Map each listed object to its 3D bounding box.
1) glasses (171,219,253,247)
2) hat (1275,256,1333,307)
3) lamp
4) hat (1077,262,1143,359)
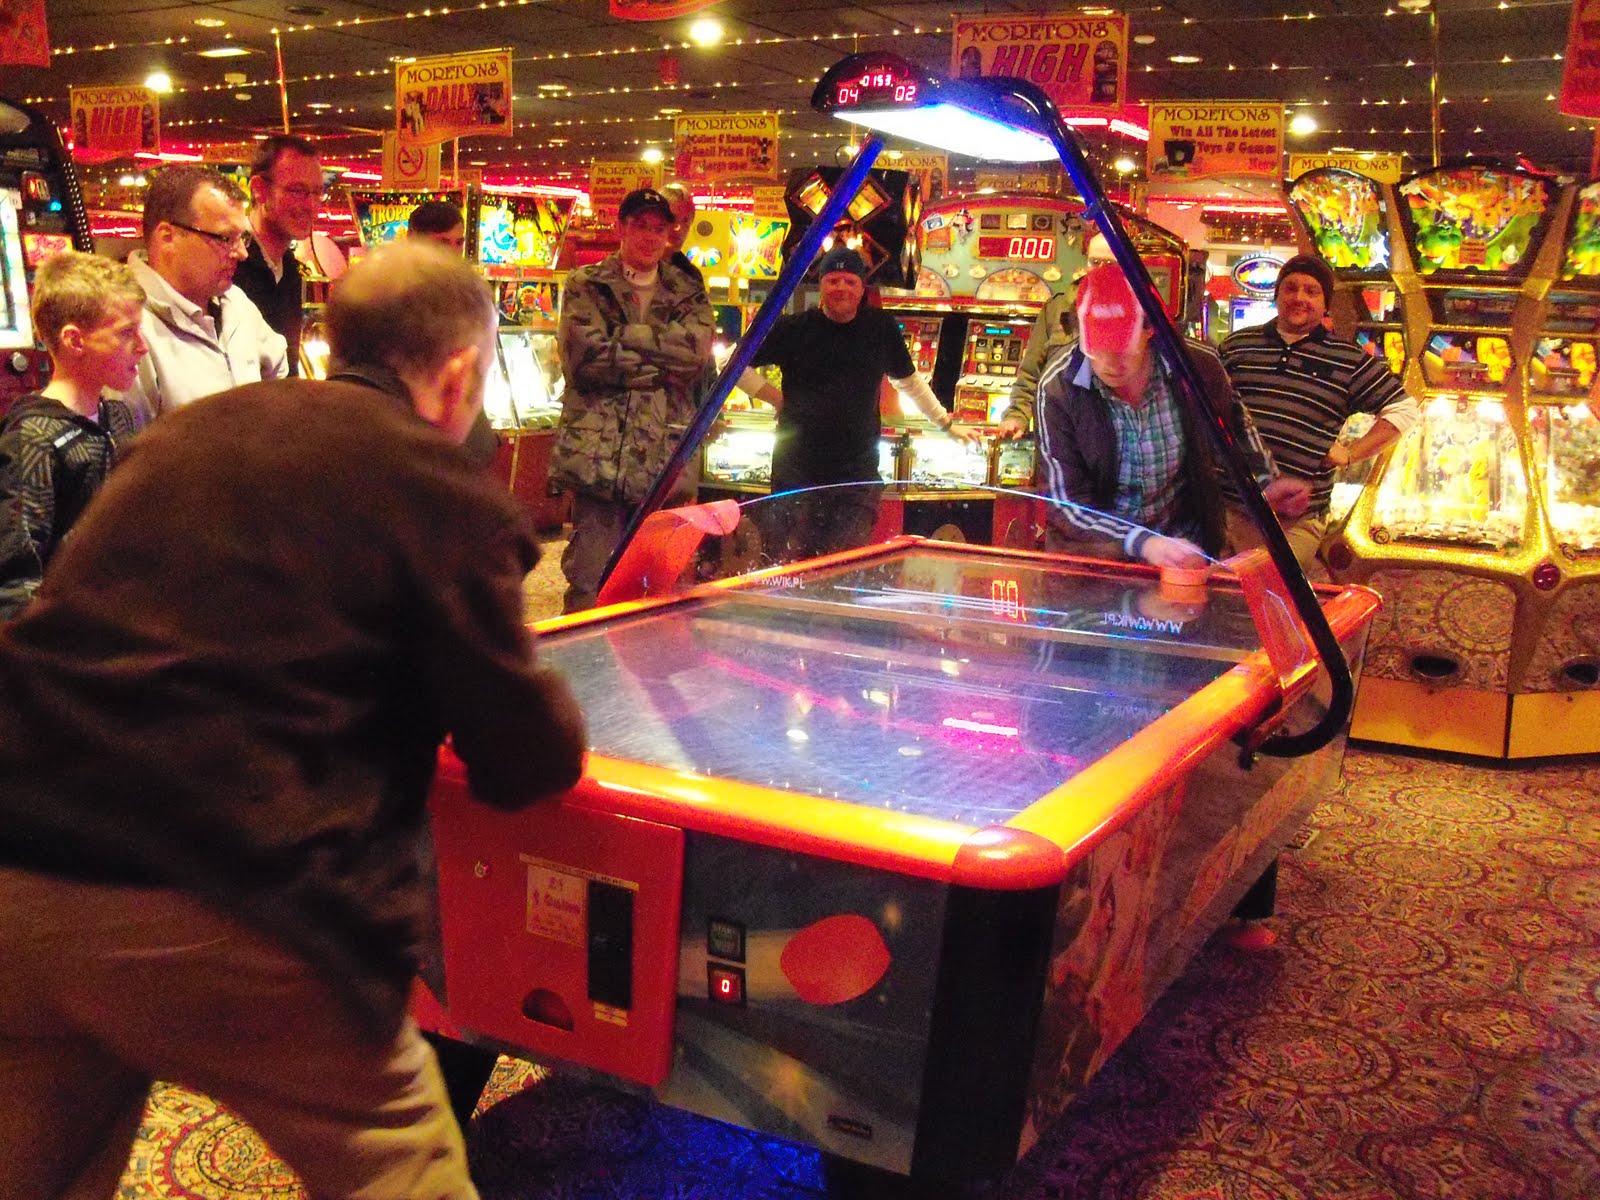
[{"bbox_3d":[-1.391,-0.865,2.855,0.087,0.026,0.083,22,16,14],"label":"glasses"},{"bbox_3d":[1.950,-1.237,4.730,0.185,0.250,0.192,3,55,34],"label":"hat"},{"bbox_3d":[0.295,-0.942,2.371,0.440,0.160,0.566,5,14,15],"label":"lamp"},{"bbox_3d":[0.741,-0.682,2.931,0.151,0.221,0.131,4,1,24],"label":"hat"}]
